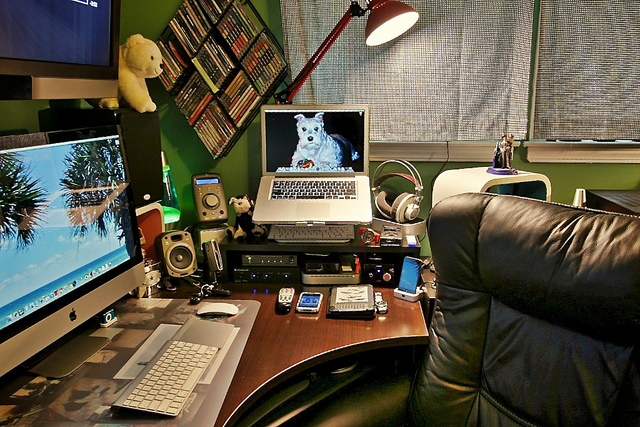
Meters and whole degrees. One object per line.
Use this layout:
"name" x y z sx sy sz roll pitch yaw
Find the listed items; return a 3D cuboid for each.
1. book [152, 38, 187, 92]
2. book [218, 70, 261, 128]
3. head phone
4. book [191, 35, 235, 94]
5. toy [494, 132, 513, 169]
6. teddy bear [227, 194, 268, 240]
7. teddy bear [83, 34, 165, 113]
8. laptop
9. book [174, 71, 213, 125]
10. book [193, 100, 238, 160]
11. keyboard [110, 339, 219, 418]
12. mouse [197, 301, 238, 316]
"book" -0.709 -0.704 2.212 0.066 0.210 0.172 7 20 13
"book" -0.383 -0.561 2.247 0.215 0.234 0.052 43 13 6
"head phone" 0.368 -0.117 2.205 0.166 0.376 0.324 -4 3 -42
"book" -0.507 -0.710 2.210 0.219 0.221 0.060 -45 14 -1
"toy" 0.822 -0.282 2.090 0.078 0.144 0.229 3 12 20
"teddy bear" -0.319 0.027 2.104 0.218 0.237 0.170 -1 -4 -3
"teddy bear" -0.741 -0.562 1.867 0.355 0.347 0.221 0 14 -5
"laptop" -0.018 -0.113 2.139 0.582 0.414 0.514 0 49 1
"book" -0.603 -0.561 2.245 0.203 0.201 0.053 43 8 10
"book" -0.520 -0.411 2.328 0.245 0.250 0.059 -42 15 -1
"keyboard" -0.451 0.496 1.414 0.175 0.113 0.297 3 12 19
"mouse" -0.377 0.343 1.715 0.107 0.024 0.063 0 5 -7
